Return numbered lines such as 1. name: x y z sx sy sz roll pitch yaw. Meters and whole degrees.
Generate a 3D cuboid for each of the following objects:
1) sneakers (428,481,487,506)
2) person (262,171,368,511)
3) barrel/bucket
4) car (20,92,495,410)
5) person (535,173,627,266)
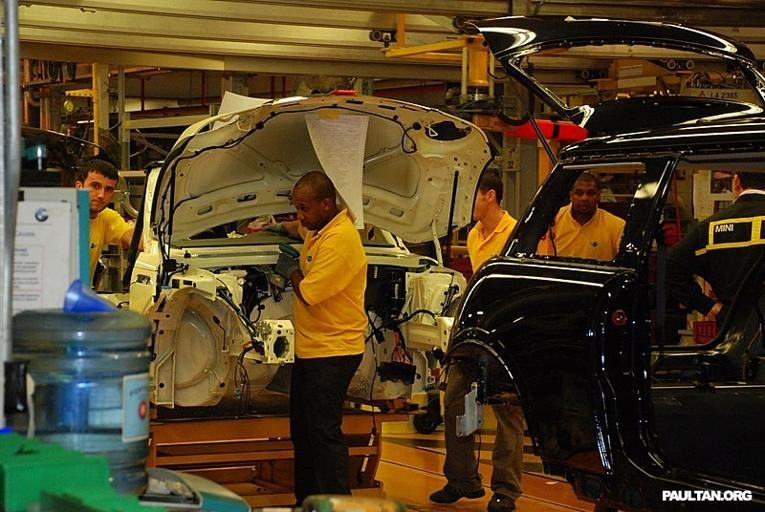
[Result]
1. sneakers: 0.594 1.937 5.898 0.526 0.203 0.169 1 -2 -7
2. person: -0.414 0.572 4.953 0.573 2.252 0.485 3 -1 -1
3. barrel/bucket: -0.886 0.416 2.041 0.412 0.557 0.140 3 -1 -4
4. car: -0.790 -0.076 6.401 2.405 2.085 3.092 0 4 -15
5. person: 1.556 -0.288 5.617 0.809 0.635 0.425 4 9 1
